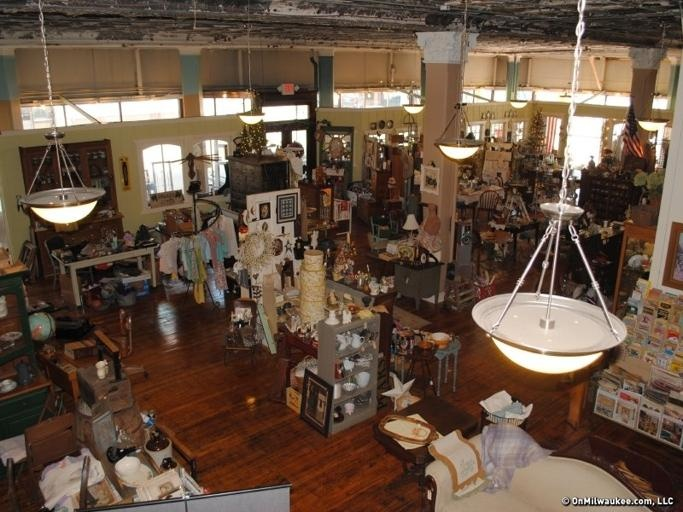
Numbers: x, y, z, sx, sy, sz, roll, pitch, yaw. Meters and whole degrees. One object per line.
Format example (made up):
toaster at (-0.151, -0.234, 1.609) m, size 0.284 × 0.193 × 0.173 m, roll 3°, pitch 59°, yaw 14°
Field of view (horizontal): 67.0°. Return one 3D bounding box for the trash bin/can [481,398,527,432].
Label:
trash bin/can at (2.079, 2.068, 6.668) m, size 0.469 × 0.298 × 0.467 m, roll -11°, pitch 20°, yaw -35°

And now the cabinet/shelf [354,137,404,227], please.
cabinet/shelf at (1.144, -2.185, 15.525) m, size 0.844 × 2.563 × 2.589 m, roll -2°, pitch 15°, yaw -18°

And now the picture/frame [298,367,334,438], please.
picture/frame at (-0.341, 2.080, 7.204) m, size 0.088 × 0.866 × 0.769 m, roll -9°, pitch 22°, yaw -38°

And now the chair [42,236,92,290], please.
chair at (-5.767, 0.176, 10.827) m, size 0.685 × 1.166 × 0.696 m, roll 14°, pitch 25°, yaw 26°

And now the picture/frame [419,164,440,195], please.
picture/frame at (1.790, -1.536, 10.413) m, size 0.044 × 0.632 × 0.621 m, roll -9°, pitch 16°, yaw -29°

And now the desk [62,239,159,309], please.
desk at (-5.129, 0.064, 10.930) m, size 1.666 × 0.824 × 1.196 m, roll -15°, pitch 22°, yaw -41°

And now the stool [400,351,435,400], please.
stool at (1.233, 1.654, 8.176) m, size 0.492 × 0.801 × 1.113 m, roll 2°, pitch 17°, yaw 10°

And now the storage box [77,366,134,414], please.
storage box at (-2.935, 1.636, 6.394) m, size 0.522 × 0.347 × 0.524 m, roll -6°, pitch 27°, yaw -26°

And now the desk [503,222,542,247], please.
desk at (4.288, -0.425, 12.552) m, size 0.824 × 0.544 × 0.569 m, roll -11°, pitch 16°, yaw -40°
